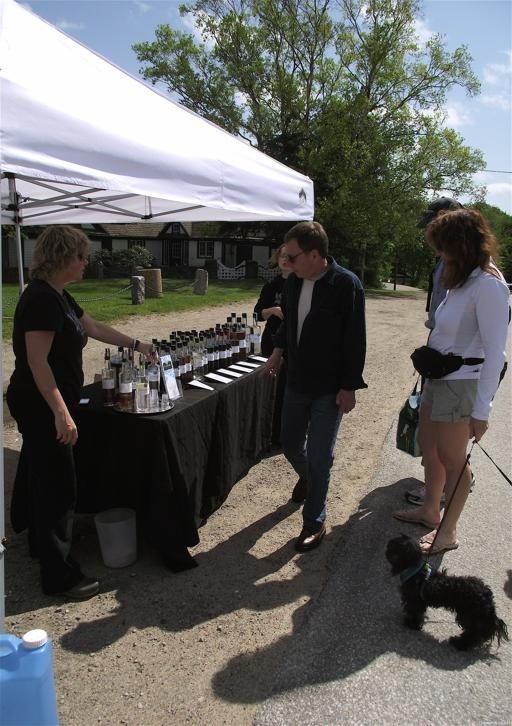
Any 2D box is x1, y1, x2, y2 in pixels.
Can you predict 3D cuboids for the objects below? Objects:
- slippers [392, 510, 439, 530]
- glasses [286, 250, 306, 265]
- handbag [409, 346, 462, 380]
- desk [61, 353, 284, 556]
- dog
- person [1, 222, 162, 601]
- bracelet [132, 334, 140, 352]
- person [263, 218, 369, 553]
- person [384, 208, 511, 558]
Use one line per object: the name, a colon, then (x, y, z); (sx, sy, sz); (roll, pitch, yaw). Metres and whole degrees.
slippers: (1.097, 1.058, 3.786); (0.296, 0.126, 0.102); (15, 17, 34)
glasses: (0.219, -0.613, 3.178); (0.065, 0.020, 0.062); (-39, 18, -24)
handbag: (1.006, -0.004, 3.081); (0.233, 0.163, 0.101); (-10, 17, 32)
desk: (-0.610, 0.429, 4.477); (1.544, 0.915, 2.554); (11, 5, 5)
dog: (0.885, 1.100, 2.587); (0.541, 0.459, 0.232); (8, 12, 39)
person: (-1.112, 0.255, 2.994); (0.459, 1.948, 0.800); (-3, 9, -17)
bracelet: (-0.835, -0.129, 3.811); (0.058, 0.077, 0.051); (16, 14, 31)
person: (0.395, 0.146, 3.569); (0.529, 2.044, 0.787); (0, 9, 2)
person: (1.135, 0.175, 3.123); (0.487, 2.062, 0.937); (2, 9, 10)
